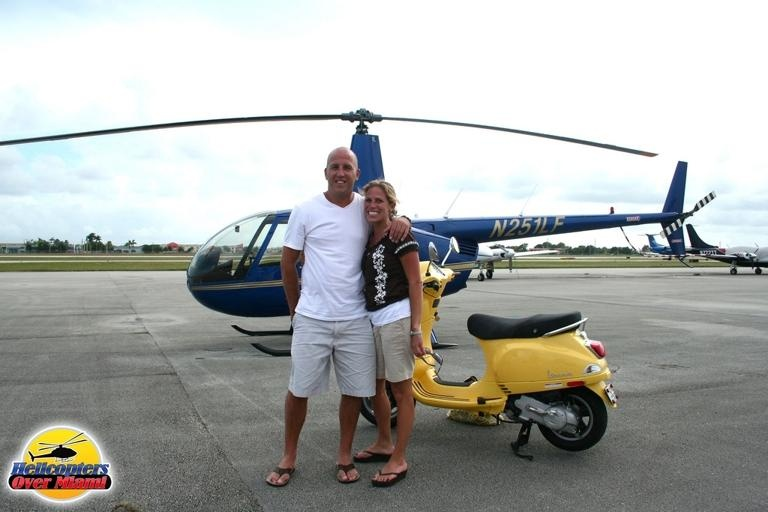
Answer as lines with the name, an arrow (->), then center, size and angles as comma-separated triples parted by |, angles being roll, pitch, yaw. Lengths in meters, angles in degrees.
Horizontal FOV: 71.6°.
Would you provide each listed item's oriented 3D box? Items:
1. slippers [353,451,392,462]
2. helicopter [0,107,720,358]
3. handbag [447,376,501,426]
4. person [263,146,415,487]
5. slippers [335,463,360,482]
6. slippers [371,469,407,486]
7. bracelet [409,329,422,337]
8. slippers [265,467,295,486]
slippers -> -0.092, 1.818, 4.858 | 0.350, 0.096, 0.118 | 2, -1, -4
helicopter -> 1.060, -0.353, 9.603 | 8.468, 2.458, 7.041 | 1, 3, -7
handbag -> 0.947, 1.567, 5.554 | 0.384, 0.383, 0.681 | 1, 6, -9
person -> -0.483, 0.488, 4.546 | 0.820, 2.809, 0.648 | 0, 9, -2
slippers -> -0.302, 1.845, 4.535 | 0.208, 0.121, 0.152 | 1, 8, 5
slippers -> 0.053, 1.863, 4.483 | 0.243, 0.062, 0.108 | 1, -3, -36
bracelet -> 0.280, 0.655, 4.549 | 0.097, 0.057, 0.052 | 0, 8, -1
slippers -> -0.878, 1.851, 4.472 | 0.188, 0.125, 0.152 | 1, 8, 10
